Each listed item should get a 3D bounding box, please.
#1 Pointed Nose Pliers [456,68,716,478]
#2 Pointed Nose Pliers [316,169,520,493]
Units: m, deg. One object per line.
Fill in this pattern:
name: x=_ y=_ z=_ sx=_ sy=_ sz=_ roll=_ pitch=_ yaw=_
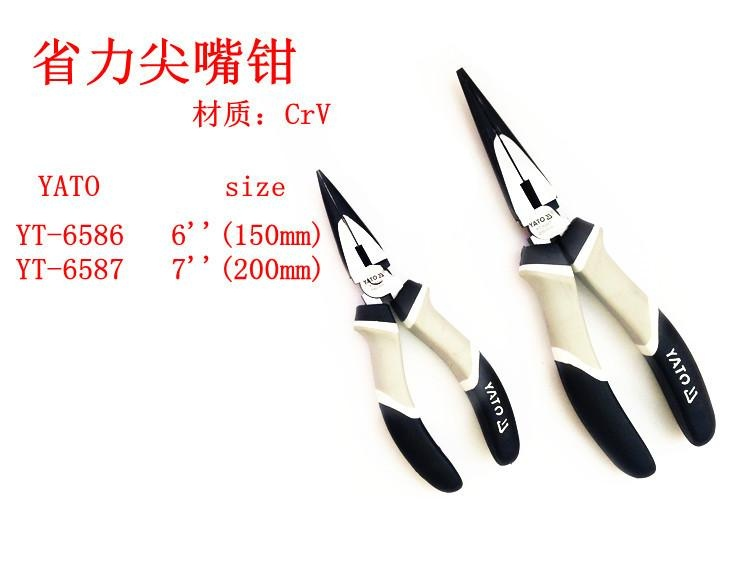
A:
Pointed Nose Pliers: x=0.379 y=0.005 z=1.765 sx=0.299 sy=0.976 sz=0.122 roll=-32 pitch=1 yaw=-6
Pointed Nose Pliers: x=0.074 y=0.098 z=1.666 sx=0.392 sy=0.593 sz=0.137 roll=5 pitch=-24 yaw=-23
